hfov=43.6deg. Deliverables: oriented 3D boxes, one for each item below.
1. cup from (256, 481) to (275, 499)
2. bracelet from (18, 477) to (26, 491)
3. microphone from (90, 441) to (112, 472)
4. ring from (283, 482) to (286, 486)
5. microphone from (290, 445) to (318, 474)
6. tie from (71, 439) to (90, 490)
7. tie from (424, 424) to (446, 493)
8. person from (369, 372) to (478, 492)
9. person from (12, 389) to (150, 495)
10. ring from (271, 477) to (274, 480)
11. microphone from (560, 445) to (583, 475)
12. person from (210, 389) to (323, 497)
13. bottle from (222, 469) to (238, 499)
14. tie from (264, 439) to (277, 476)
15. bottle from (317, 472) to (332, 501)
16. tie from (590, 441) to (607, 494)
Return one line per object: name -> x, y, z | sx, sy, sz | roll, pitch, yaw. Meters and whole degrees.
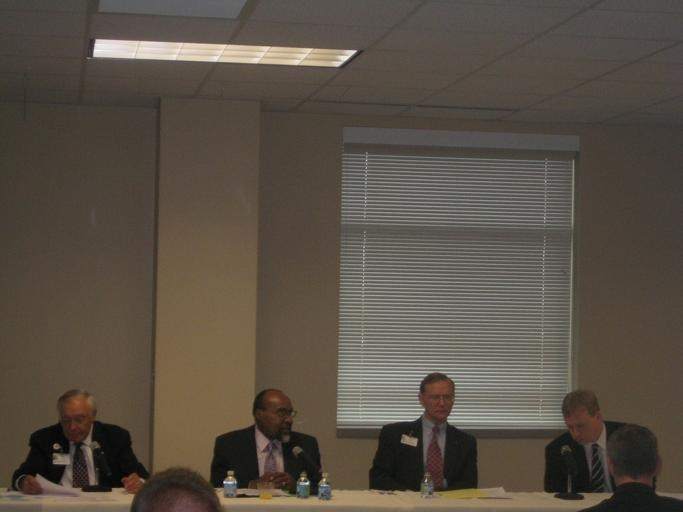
cup -> -0.554, 1.671, 6.101 | 0.094, 0.075, 0.091 | 2, -12, 0
bracelet -> -2.292, 1.618, 6.086 | 0.031, 0.105, 0.127 | 6, -10, -29
microphone -> -1.787, 1.479, 6.291 | 0.140, 0.227, 0.497 | 4, -10, -15
ring -> -0.426, 1.669, 6.253 | 0.019, 0.021, 0.018 | 1, 0, 0
microphone -> -0.285, 1.502, 6.348 | 0.112, 0.122, 0.400 | 1, 6, -15
tie -> -1.999, 1.587, 6.462 | 0.104, 0.053, 0.450 | 1, 35, -22
tie -> 0.733, 1.562, 6.701 | 0.146, 0.480, 0.252 | 1, -8, 4
person -> 0.647, 1.390, 6.800 | 0.837, 0.893, 0.207 | 1, -8, 4
person -> -2.106, 1.464, 6.688 | 0.616, 0.838, 0.506 | 3, -50, -18
ring -> -0.515, 1.612, 6.204 | 0.024, 0.025, 0.021 | -1, -5, 8
microphone -> 1.737, 1.529, 6.435 | 0.077, 0.074, 0.242 | -20, 15, 18
person -> -0.572, 1.666, 6.508 | 0.754, 1.308, 0.615 | 4, -19, -10
bottle -> -0.803, 1.630, 6.107 | 0.096, 0.177, 0.172 | 3, -9, -7
tie -> -0.557, 1.537, 6.569 | 0.104, 0.232, 0.046 | 4, -8, -16
bottle -> -0.128, 1.658, 6.190 | 0.099, 0.183, 0.224 | 2, -9, -1
tie -> 1.951, 1.619, 6.497 | 0.205, 0.298, 0.085 | -2, -2, 14
